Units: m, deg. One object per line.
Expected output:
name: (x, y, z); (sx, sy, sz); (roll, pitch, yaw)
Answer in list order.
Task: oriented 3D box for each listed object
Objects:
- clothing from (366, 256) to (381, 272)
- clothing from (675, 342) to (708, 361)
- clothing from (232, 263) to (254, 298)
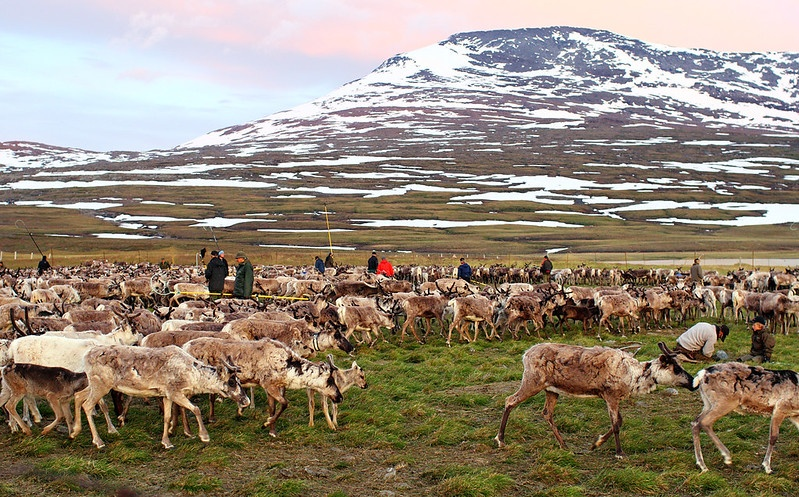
clothing: (-1.896, 1.126, 59.918); (0.819, 1.037, 1.195); (-9, 15, -37)
clothing: (12.544, 4.455, 36.686); (1.159, 0.313, 0.751); (15, -1, 0)
clothing: (-7.657, 1.371, 42.561); (1.170, 1.589, 1.971); (-2, 8, -23)
